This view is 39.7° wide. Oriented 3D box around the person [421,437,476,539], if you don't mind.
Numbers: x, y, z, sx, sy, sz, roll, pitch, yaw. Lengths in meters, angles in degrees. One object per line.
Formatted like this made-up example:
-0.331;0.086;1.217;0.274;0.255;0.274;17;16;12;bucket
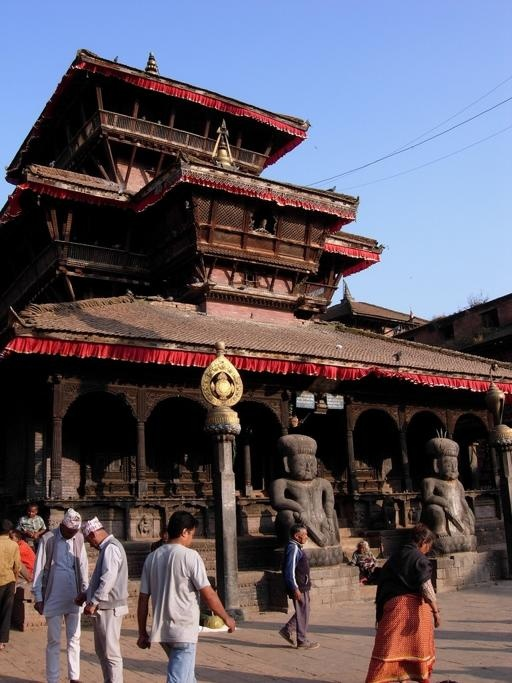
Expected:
3.618;2.833;13.778;0.941;1.962;1.181;-4;-16;13;person

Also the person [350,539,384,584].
1.996;4.059;12.996;0.586;0.677;0.468;-1;-7;-4;person

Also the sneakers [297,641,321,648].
0.598;3.419;8.000;0.210;0.076;0.085;-2;-9;1;sneakers

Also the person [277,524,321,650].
0.489;2.888;8.420;0.416;1.329;0.685;-1;-15;1;person

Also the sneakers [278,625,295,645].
0.370;3.429;8.240;0.172;0.202;0.271;-1;-14;1;sneakers

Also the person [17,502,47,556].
-3.873;3.484;12.465;0.459;1.099;0.359;0;4;-13;person

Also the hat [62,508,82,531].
-1.727;1.728;6.903;0.208;0.194;0.268;6;-15;-22;hat
